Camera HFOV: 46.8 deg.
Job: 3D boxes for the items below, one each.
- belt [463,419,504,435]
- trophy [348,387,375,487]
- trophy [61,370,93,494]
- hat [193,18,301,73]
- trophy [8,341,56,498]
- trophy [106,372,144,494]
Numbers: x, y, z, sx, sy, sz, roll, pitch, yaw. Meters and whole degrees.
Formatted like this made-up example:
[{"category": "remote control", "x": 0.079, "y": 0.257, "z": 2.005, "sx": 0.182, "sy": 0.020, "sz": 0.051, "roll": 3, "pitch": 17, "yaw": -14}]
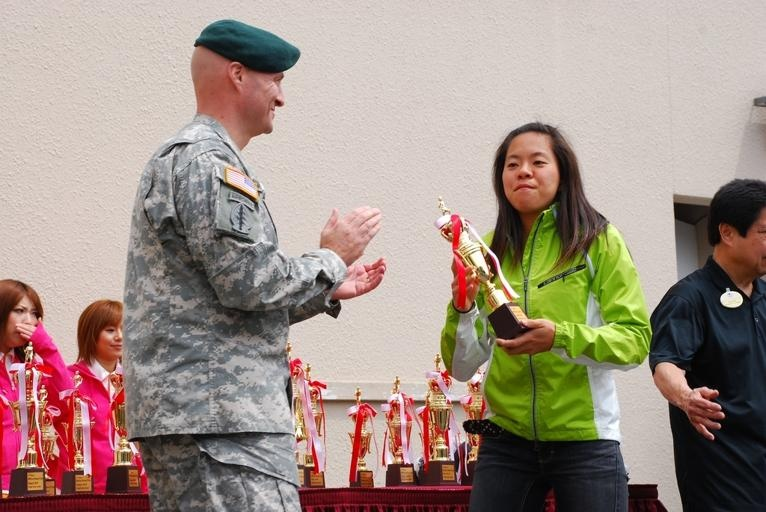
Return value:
[{"category": "belt", "x": 0.444, "y": 0.721, "z": 3.762, "sx": 0.083, "sy": 0.039, "sz": 0.110, "roll": 1, "pitch": -7, "yaw": 45}, {"category": "trophy", "x": -0.118, "y": 0.993, "z": 4.837, "sx": 0.153, "sy": 0.499, "sz": 0.172, "roll": -8, "pitch": -14, "yaw": 20}, {"category": "trophy", "x": -1.494, "y": 0.901, "z": 4.371, "sx": 0.138, "sy": 0.501, "sz": 0.329, "roll": 0, "pitch": -10, "yaw": -19}, {"category": "hat", "x": -0.505, "y": -0.806, "z": 3.394, "sx": 0.423, "sy": 0.123, "sz": 0.312, "roll": 13, "pitch": 13, "yaw": 0}, {"category": "trophy", "x": -1.688, "y": 0.783, "z": 4.324, "sx": 0.194, "sy": 0.738, "sz": 0.605, "roll": 1, "pitch": -10, "yaw": -20}, {"category": "trophy", "x": -1.252, "y": 0.873, "z": 4.291, "sx": 0.176, "sy": 0.536, "sz": 0.177, "roll": -9, "pitch": -11, "yaw": 24}]
